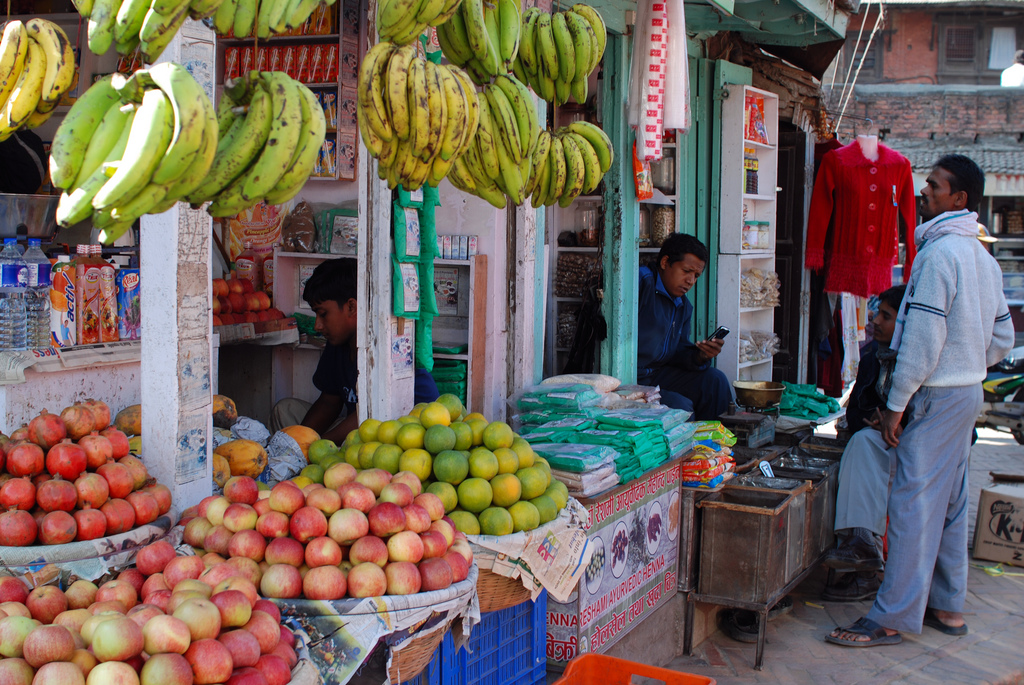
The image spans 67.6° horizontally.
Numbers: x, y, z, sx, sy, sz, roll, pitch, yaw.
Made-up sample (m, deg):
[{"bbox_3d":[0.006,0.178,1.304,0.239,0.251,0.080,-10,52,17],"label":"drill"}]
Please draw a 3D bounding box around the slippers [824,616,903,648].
[{"bbox_3d":[2.141,1.763,4.653,0.315,0.134,0.209,2,-6,0],"label":"slippers"}]

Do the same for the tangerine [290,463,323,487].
[{"bbox_3d":[-0.766,0.493,2.864,0.090,0.082,0.078,-27,6,30],"label":"tangerine"}]

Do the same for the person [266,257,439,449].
[{"bbox_3d":[-0.910,0.071,4.368,0.784,1.082,0.612,-11,3,-36],"label":"person"}]

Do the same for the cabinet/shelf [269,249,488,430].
[{"bbox_3d":[-0.926,0.020,4.682,1.093,1.451,0.897,1,5,0],"label":"cabinet/shelf"}]

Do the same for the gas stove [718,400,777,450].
[{"bbox_3d":[1.777,0.596,5.614,0.394,0.198,0.245,-12,12,-38],"label":"gas stove"}]

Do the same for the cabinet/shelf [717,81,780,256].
[{"bbox_3d":[2.230,-1.595,7.131,0.355,1.522,1.003,6,11,33],"label":"cabinet/shelf"}]

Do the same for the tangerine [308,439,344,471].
[{"bbox_3d":[-0.759,0.446,3.094,0.106,0.118,0.111,3,-17,-18],"label":"tangerine"}]

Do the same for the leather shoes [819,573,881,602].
[{"bbox_3d":[2.346,1.667,5.332,0.388,0.194,0.198,2,1,-2],"label":"leather shoes"}]

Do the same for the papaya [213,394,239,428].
[{"bbox_3d":[-1.313,0.309,3.491,0.092,0.132,0.144,-3,10,-19],"label":"papaya"}]

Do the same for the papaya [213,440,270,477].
[{"bbox_3d":[-1.113,0.474,3.178,0.182,0.156,0.137,11,4,2],"label":"papaya"}]

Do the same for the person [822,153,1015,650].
[{"bbox_3d":[2.497,0.367,4.607,1.091,2.953,0.503,-7,11,-37],"label":"person"}]

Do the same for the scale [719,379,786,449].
[{"bbox_3d":[1.763,0.649,5.625,0.356,0.366,0.704,5,9,29],"label":"scale"}]

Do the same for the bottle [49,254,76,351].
[{"bbox_3d":[-1.761,-0.165,3.007,0.071,0.340,0.159,-2,9,-10],"label":"bottle"}]

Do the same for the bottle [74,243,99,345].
[{"bbox_3d":[-1.716,-0.200,3.076,0.109,0.389,0.076,-8,12,-41],"label":"bottle"}]
